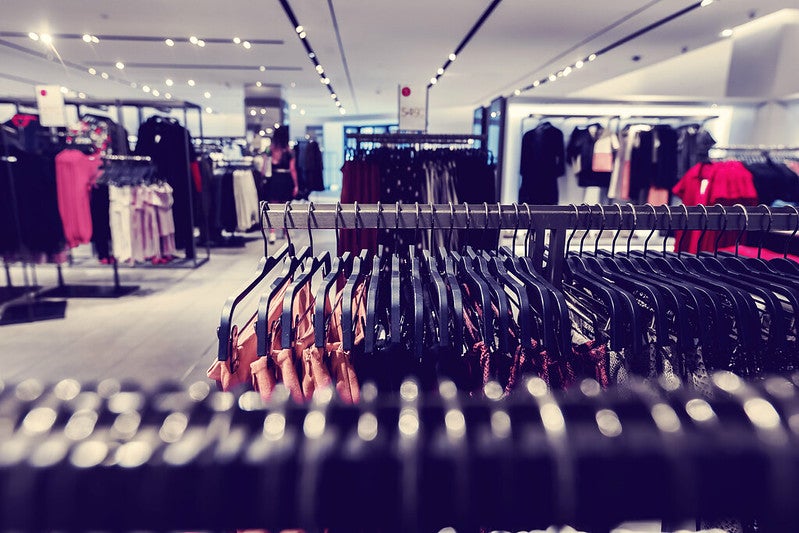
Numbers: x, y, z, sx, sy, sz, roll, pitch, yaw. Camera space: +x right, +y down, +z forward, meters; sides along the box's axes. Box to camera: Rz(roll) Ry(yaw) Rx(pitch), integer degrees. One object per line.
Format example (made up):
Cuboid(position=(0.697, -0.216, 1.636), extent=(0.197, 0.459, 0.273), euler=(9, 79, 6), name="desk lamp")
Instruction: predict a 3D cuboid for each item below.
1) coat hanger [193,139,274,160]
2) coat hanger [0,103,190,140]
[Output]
Cuboid(position=(-2.437, -1.757, 8.290), extent=(0.780, 0.208, 0.807), euler=(-1, 9, -9), name="coat hanger")
Cuboid(position=(-3.082, -1.478, 5.670), extent=(1.662, 0.368, 0.743), euler=(1, 20, -10), name="coat hanger")
